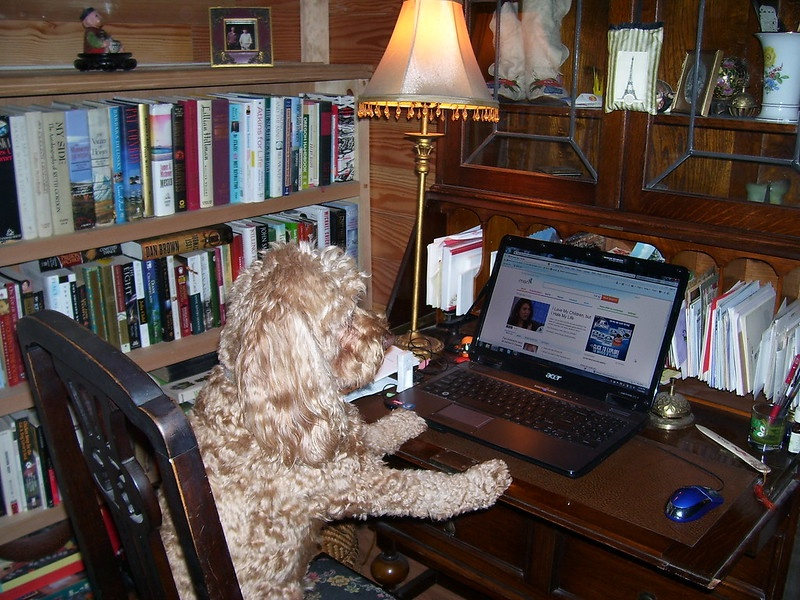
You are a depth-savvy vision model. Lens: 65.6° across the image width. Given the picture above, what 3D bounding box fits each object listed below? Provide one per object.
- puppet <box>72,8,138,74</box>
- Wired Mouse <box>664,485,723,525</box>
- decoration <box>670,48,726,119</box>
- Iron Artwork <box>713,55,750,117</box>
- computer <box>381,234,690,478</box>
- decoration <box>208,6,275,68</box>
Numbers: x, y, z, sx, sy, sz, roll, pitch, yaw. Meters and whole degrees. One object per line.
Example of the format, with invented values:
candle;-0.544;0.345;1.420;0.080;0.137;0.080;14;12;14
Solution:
puppet;-0.850;-0.787;1.914;0.223;0.219;0.207;-4;27;-14
Wired Mouse;0.608;0.421;1.281;0.112;0.034;0.063;-18;27;-27
decoration;0.795;-0.573;1.630;0.037;0.206;0.157;-1;24;-30
Iron Artwork;0.866;-0.550;1.594;0.093;0.145;0.061;9;20;22
computer;0.373;0.160;1.644;0.676;0.419;0.654;19;24;41
decoration;-0.539;-0.885;2.083;0.240;0.213;0.155;-11;22;-34
